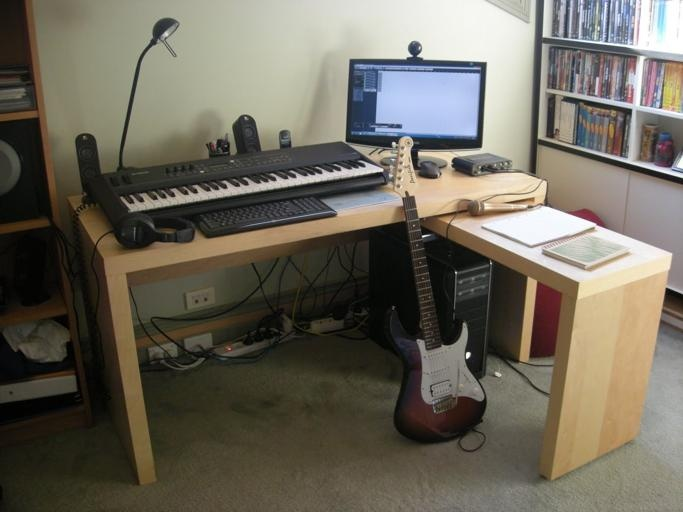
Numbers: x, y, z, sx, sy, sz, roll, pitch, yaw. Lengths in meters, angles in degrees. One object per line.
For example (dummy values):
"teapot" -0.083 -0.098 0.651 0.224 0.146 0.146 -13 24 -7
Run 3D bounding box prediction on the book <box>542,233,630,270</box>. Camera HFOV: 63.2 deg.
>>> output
"book" 0.917 -0.016 2.085 0.297 0.036 0.195 -16 27 -29

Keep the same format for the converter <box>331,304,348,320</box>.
"converter" -0.007 0.299 2.995 0.020 0.083 0.062 24 34 -50

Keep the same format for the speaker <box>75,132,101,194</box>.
"speaker" -1.032 -0.378 2.271 0.075 0.270 0.069 -13 38 -29

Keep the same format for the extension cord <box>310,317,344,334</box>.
"extension cord" -0.076 0.348 3.001 0.127 0.049 0.095 -13 21 -33

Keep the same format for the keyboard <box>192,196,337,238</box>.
"keyboard" -0.292 -0.155 2.134 0.525 0.051 0.173 -11 24 -20

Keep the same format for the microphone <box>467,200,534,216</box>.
"microphone" 0.672 -0.202 2.379 0.234 0.061 0.058 -1 12 -13

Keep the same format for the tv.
"tv" 0.352 -0.681 2.643 0.526 0.411 0.153 3 18 5

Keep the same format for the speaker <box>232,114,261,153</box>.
"speaker" -0.428 -0.556 2.587 0.085 0.183 0.090 -9 -1 -1

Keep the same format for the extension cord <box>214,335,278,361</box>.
"extension cord" -0.511 0.474 2.888 0.204 0.046 0.112 -15 33 -24

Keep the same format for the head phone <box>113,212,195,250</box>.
"head phone" -0.664 -0.092 1.996 0.234 0.115 0.275 19 18 42
